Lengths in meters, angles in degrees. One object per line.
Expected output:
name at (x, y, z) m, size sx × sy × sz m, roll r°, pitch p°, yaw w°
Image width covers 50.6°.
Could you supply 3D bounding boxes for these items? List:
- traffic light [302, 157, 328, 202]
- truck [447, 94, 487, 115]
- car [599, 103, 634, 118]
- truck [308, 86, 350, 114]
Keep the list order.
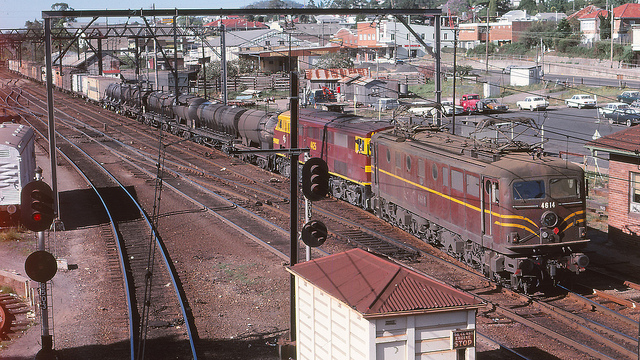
traffic light at (-0.199, -0.014, 30.167) m, size 1.177 × 1.956 × 0.468 m, roll -4°, pitch 13°, yaw -2°
truck at (17.349, -8.900, 77.821) m, size 1.981 × 1.870 × 5.059 m, roll -4°, pitch 7°, yaw -12°
car at (28.630, -6.690, 64.944) m, size 1.943 × 1.280 × 3.885 m, roll -6°, pitch 9°, yaw -20°
truck at (1.370, -11.207, 94.080) m, size 6.170 × 2.858 × 3.665 m, roll 13°, pitch 18°, yaw 17°
